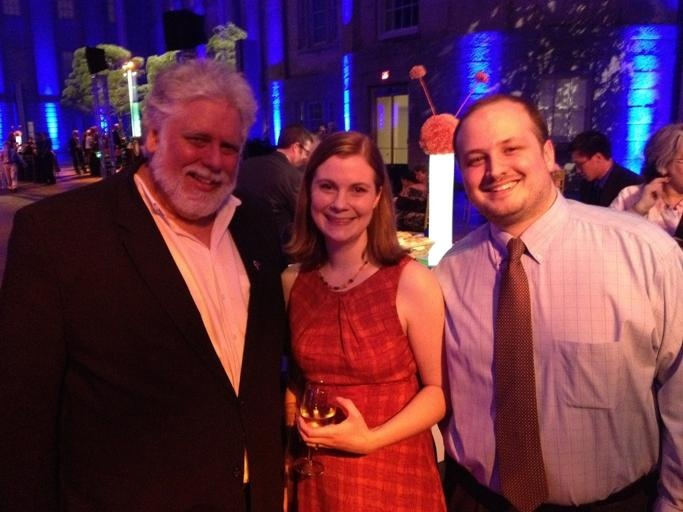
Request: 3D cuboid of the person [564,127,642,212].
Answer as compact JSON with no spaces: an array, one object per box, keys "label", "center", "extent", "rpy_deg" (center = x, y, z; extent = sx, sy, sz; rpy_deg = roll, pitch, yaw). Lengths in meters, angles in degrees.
[{"label":"person","center":[2.649,-0.832,5.323],"extent":[0.567,0.760,0.755],"rpy_deg":[-13,6,-2]}]
